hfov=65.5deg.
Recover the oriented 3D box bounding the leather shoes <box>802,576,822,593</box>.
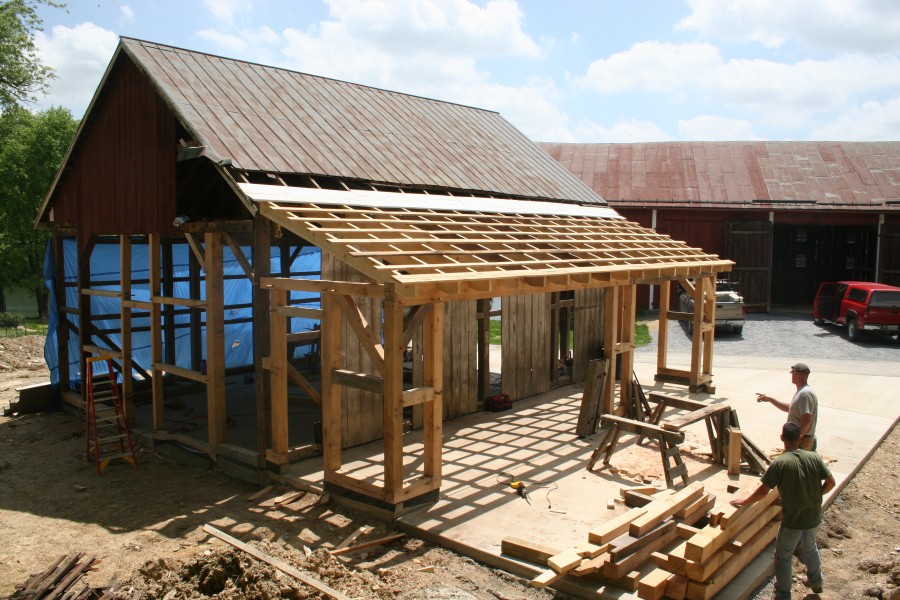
[{"bbox_3d":[5.188,4.076,9.934,0.186,0.247,0.137,5,35,20],"label":"leather shoes"}]

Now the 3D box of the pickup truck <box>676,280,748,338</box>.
[{"bbox_3d":[9.436,-0.068,25.529,1.988,1.428,3.997,-2,14,14],"label":"pickup truck"}]

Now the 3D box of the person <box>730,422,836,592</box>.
[{"bbox_3d":[4.745,2.949,9.716,1.009,2.527,0.690,-11,17,-30],"label":"person"}]

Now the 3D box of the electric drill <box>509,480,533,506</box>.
[{"bbox_3d":[1.206,3.199,11.753,0.146,0.158,0.464,-24,20,-11],"label":"electric drill"}]
